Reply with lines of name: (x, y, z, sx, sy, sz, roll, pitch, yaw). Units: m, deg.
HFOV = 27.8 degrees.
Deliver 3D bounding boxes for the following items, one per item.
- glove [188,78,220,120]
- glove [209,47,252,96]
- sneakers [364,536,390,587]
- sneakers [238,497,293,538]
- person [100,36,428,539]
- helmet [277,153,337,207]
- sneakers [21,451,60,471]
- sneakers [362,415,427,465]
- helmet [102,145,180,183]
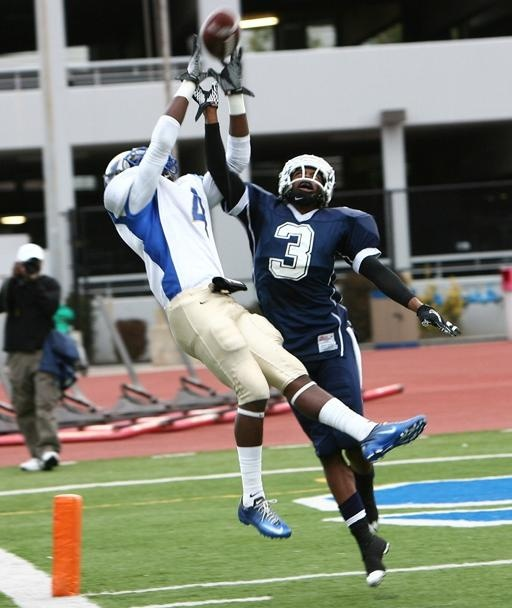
glove: (-0.258, -1.045, 5.220, 0.231, 0.208, 0.101, 3, -14, 7)
glove: (-0.090, -1.168, 5.217, 0.134, 0.218, 0.275, 3, -7, 36)
sneakers: (0.527, 1.107, 4.448, 0.110, 0.207, 0.080, 33, -31, -26)
sneakers: (0.037, 1.009, 4.838, 0.148, 0.203, 0.291, -6, 7, -23)
person: (-0.121, -0.052, 4.898, 0.574, 2.469, 1.586, -9, 9, -38)
helmet: (0.226, -0.656, 5.269, 0.293, 0.229, 0.310, 7, 0, -13)
sneakers: (-1.726, 1.256, 8.255, 0.292, 0.180, 0.254, -4, 6, -14)
sneakers: (0.589, 0.575, 4.456, 0.282, 0.187, 0.219, -3, 6, -5)
helmet: (-0.583, -0.716, 5.327, 0.239, 0.238, 0.236, -3, -5, 36)
